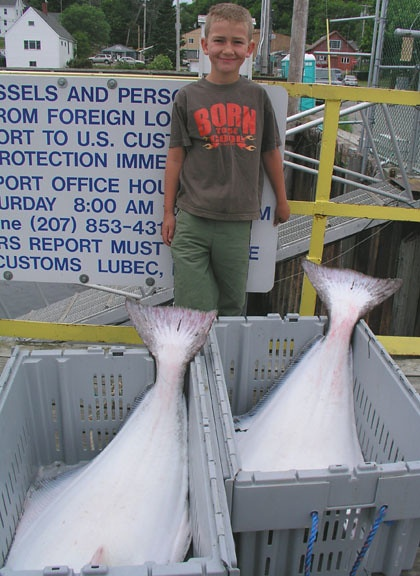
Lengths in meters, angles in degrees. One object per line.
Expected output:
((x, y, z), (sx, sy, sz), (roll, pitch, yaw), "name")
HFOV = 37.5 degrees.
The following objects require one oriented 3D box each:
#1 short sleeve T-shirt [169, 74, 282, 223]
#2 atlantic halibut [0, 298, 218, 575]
((0.060, -0.653, 2.947), (0.504, 0.643, 0.225), (1, 18, 2), "short sleeve T-shirt")
((-0.364, 0.492, 2.246), (0.656, 0.666, 0.913), (1, 17, 5), "atlantic halibut")
